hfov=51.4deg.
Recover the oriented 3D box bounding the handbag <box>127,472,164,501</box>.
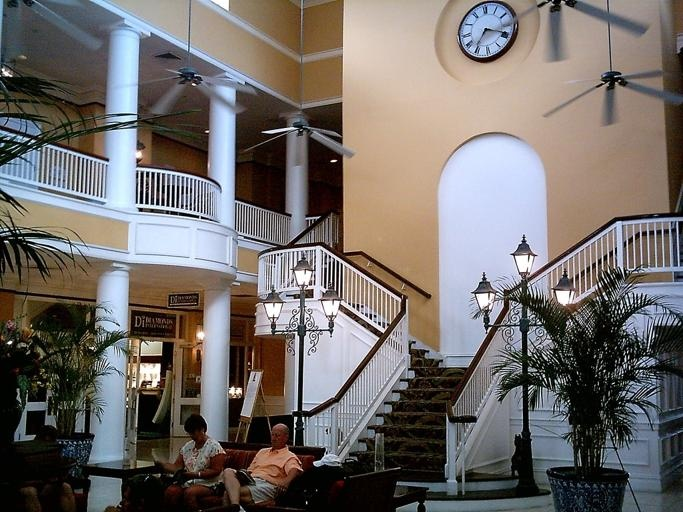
[{"bbox_3d":[-2.062,2.418,7.449,0.285,0.268,0.228,-7,-1,-26],"label":"handbag"}]

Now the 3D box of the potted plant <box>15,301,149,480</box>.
[{"bbox_3d":[-4.370,2.007,12.121,1.278,3.166,2.065,-4,-8,39],"label":"potted plant"}]
